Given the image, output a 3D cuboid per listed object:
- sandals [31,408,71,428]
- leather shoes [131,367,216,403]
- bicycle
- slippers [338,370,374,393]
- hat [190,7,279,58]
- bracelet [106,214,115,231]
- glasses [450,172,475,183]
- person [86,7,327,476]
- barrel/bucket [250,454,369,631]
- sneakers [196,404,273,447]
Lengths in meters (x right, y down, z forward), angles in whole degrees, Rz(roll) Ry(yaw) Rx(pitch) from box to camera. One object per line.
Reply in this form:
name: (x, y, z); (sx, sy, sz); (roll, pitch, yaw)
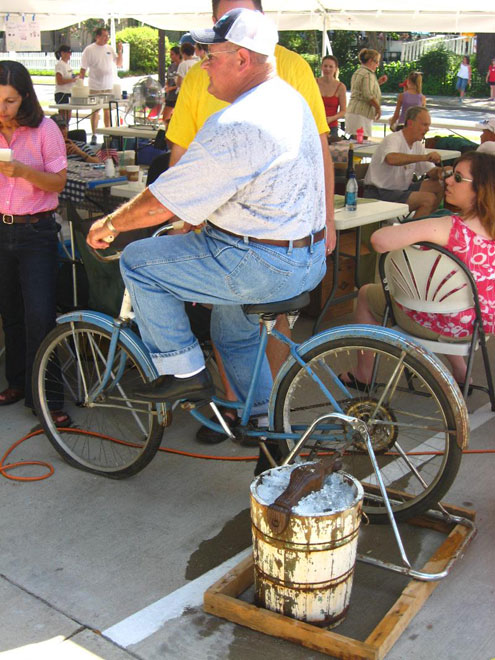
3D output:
sandals: (-1.036, 0.471, 3.048); (0.225, 0.075, 0.071); (2, 15, 15)
leather shoes: (-0.265, 0.209, 2.175); (0.341, 0.114, 0.107); (2, 8, 6)
bicycle: (-0.032, 0.149, 2.803); (2.302, 1.186, 0.988); (12, 25, 20)
slippers: (0.544, 0.256, 2.822); (0.168, 0.080, 0.099); (26, -2, -34)
hat: (-0.029, -0.844, 1.683); (0.235, 0.106, 0.126); (14, 40, -6)
bracelet: (-0.460, -0.350, 1.910); (0.018, 0.040, 0.038); (-5, -13, -14)
glasses: (1.025, -0.711, 2.695); (0.076, 0.021, 0.067); (10, 6, -17)
person: (-0.099, -0.316, 1.880); (0.617, 1.271, 0.489); (7, 17, 30)
barrel/bucket: (0.165, 0.604, 1.625); (0.307, 0.409, 0.330); (-1, 14, 0)
sneakers: (-0.060, 0.430, 2.547); (0.162, 0.173, 0.490); (-2, 7, -28)
